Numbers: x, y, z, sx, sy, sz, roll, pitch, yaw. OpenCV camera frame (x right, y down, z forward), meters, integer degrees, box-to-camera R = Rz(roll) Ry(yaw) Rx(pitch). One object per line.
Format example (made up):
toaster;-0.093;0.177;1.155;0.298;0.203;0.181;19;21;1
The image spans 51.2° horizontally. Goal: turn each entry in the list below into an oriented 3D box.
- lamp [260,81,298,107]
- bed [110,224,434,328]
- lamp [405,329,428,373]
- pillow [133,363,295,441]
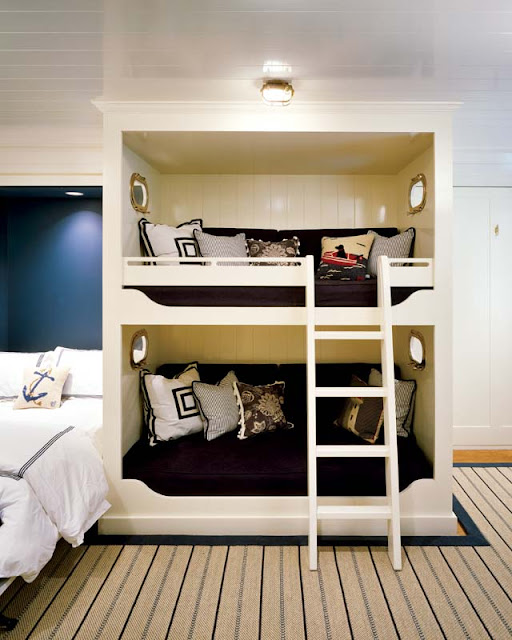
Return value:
lamp;0.106;-1.185;2.788;0.148;0.151;0.198;-1;11;-7
bed;0.136;-0.193;2.962;1.707;0.518;0.650;2;11;8
lamp;0.965;0.173;3.208;0.042;0.171;0.123;-5;0;-16
pillow;-0.224;0.488;3.166;0.610;0.513;0.191;6;-40;-29
